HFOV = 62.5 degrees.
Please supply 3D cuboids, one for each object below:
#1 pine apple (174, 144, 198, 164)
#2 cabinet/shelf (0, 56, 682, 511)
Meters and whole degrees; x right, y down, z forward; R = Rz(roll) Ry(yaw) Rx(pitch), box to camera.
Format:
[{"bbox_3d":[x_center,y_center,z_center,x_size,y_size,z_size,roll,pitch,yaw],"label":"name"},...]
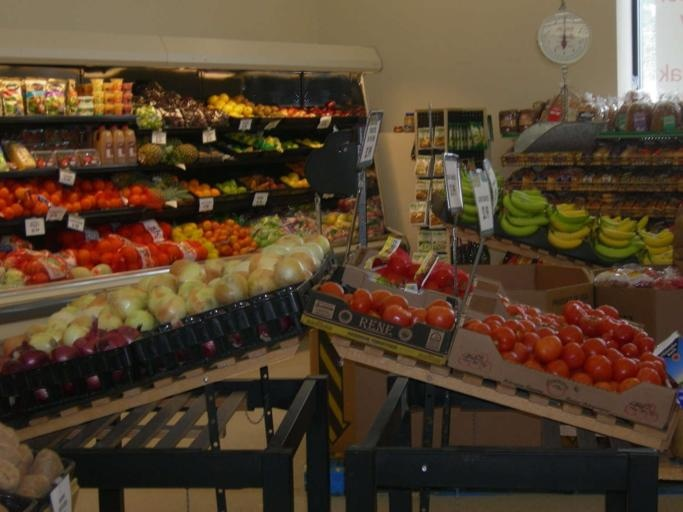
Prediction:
[{"bbox_3d":[-1.407,-0.927,5.112,0.175,0.149,0.153,0,23,-36],"label":"pine apple"},{"bbox_3d":[-0.094,-0.010,3.306,2.034,0.977,2.953,2,34,12],"label":"cabinet/shelf"}]
